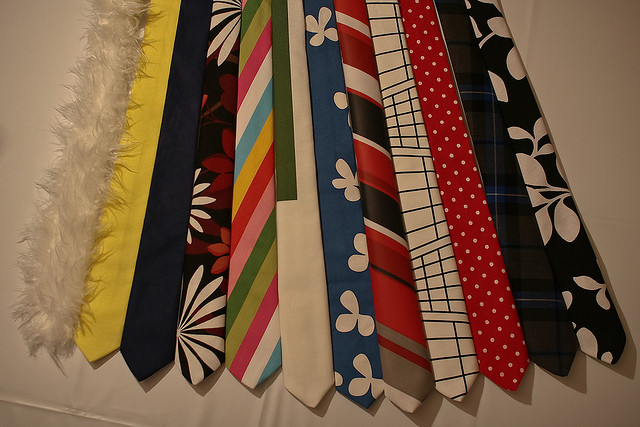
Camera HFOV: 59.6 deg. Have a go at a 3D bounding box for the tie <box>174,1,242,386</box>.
[{"bbox_3d":[-0.287,-0.058,1.498,0.115,1.092,0.021,3,-15,-3],"label":"tie"}]

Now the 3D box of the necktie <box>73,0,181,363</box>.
[{"bbox_3d":[-0.507,-0.080,1.542,0.128,1.515,0.026,8,-6,-4],"label":"necktie"}]
